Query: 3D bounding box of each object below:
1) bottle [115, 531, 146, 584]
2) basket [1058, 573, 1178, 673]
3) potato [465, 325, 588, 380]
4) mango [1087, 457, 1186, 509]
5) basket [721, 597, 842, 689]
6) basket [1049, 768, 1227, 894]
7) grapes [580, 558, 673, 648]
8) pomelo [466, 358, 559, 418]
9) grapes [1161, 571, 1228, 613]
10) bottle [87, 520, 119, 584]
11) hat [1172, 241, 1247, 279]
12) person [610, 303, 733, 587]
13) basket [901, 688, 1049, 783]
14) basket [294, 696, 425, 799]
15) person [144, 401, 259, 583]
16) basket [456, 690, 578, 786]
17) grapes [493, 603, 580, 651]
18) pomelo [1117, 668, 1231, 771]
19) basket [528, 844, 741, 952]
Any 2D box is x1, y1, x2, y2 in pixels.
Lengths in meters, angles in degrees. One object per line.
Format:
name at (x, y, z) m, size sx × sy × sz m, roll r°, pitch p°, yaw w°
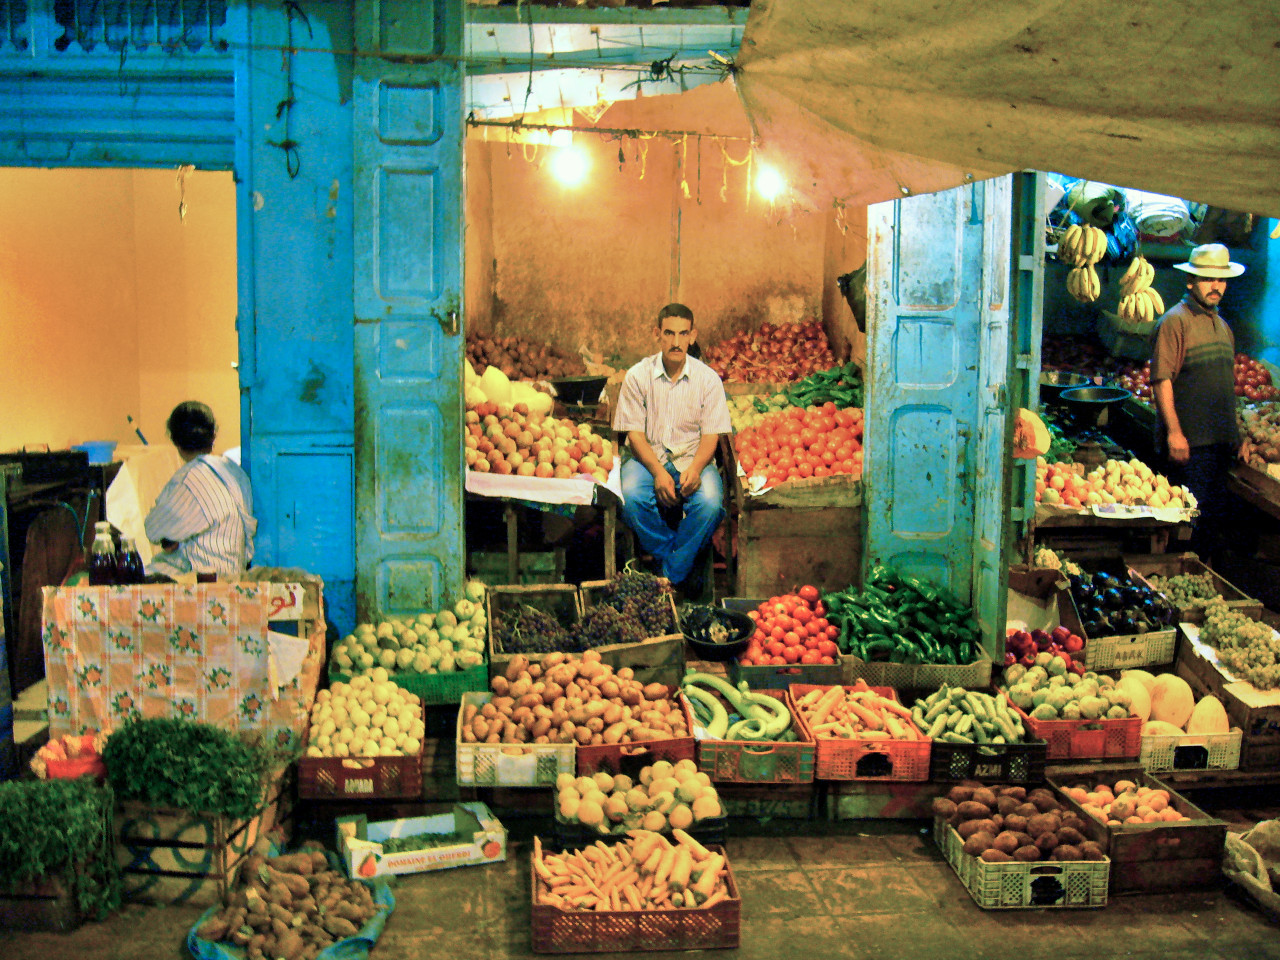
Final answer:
bottle at (-2.577, 0.389, 6.521) m, size 0.116 × 0.246 × 0.210 m, roll -6°, pitch 8°, yaw -23°
basket at (2.805, 0.852, 7.595) m, size 0.629 × 0.488 × 0.364 m, roll -5°, pitch 7°, yaw -8°
potato at (-0.848, -0.967, 10.113) m, size 0.721 × 0.308 × 0.542 m, roll 0°, pitch 10°, yaw -34°
mango at (3.280, 0.030, 8.619) m, size 0.402 × 0.149 × 0.431 m, roll 1°, pitch 16°, yaw 6°
basket at (0.785, 0.839, 7.189) m, size 0.417 × 0.134 × 0.644 m, roll 0°, pitch 22°, yaw -1°
basket at (2.503, 1.768, 6.385) m, size 0.451 × 0.240 × 0.654 m, roll -1°, pitch 6°, yaw 1°
grapes at (-0.057, 0.687, 7.155) m, size 0.333 × 0.232 × 0.460 m, roll -9°, pitch 28°, yaw 0°
pomelo at (-0.913, -0.675, 8.791) m, size 0.423 × 0.188 × 0.384 m, roll 18°, pitch 12°, yaw 11°
grapes at (3.280, 0.666, 7.750) m, size 0.225 × 0.077 × 0.222 m, roll -2°, pitch 20°, yaw 1°
bottle at (-2.660, 0.354, 6.420) m, size 0.150 × 0.312 × 0.350 m, roll -6°, pitch 8°, yaw -23°
hat at (3.958, -1.534, 9.036) m, size 0.377 × 0.161 × 0.421 m, roll 4°, pitch 15°, yaw 14°
person at (0.219, -0.095, 8.308) m, size 0.732 × 1.478 × 0.603 m, roll -3°, pitch 7°, yaw 0°
basket at (1.853, 1.391, 6.842) m, size 0.643 × 0.240 × 0.818 m, roll -2°, pitch 7°, yaw 9°
basket at (-1.418, 1.358, 6.446) m, size 0.530 × 0.197 × 0.552 m, roll 0°, pitch 1°, yaw -3°
person at (-2.383, 0.069, 7.035) m, size 0.545 × 0.949 × 0.606 m, roll 0°, pitch 5°, yaw 13°
basket at (-0.632, 1.385, 6.623) m, size 0.691 × 0.223 × 0.731 m, roll 1°, pitch 3°, yaw 9°
grapes at (-0.573, 0.837, 7.185) m, size 0.436 × 0.196 × 0.584 m, roll -4°, pitch 8°, yaw -6°
pomelo at (2.909, 1.324, 6.955) m, size 0.464 × 0.234 × 0.490 m, roll -5°, pitch 10°, yaw -5°
basket at (-0.026, 1.902, 5.744) m, size 0.915 × 0.382 × 0.212 m, roll -4°, pitch 7°, yaw 1°
